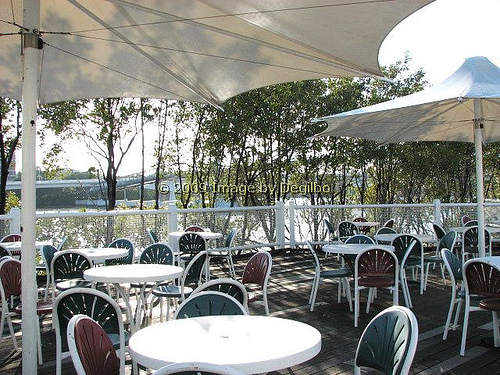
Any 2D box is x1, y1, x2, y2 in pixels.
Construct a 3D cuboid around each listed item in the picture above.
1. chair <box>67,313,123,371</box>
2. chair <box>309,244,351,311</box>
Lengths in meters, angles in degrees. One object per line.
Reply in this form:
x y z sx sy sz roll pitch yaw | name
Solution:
-1.145 1.145 3.357 0.229 0.439 0.463 -1 -3 8 | chair
1.273 1.377 7.495 0.766 1.325 0.765 -2 -2 4 | chair
